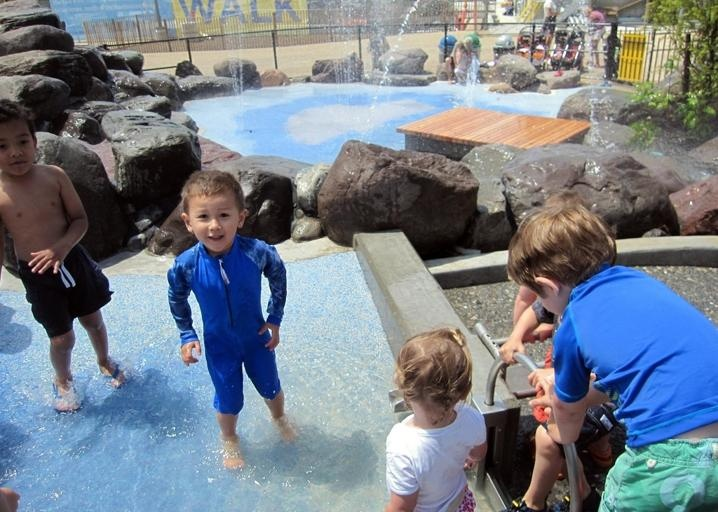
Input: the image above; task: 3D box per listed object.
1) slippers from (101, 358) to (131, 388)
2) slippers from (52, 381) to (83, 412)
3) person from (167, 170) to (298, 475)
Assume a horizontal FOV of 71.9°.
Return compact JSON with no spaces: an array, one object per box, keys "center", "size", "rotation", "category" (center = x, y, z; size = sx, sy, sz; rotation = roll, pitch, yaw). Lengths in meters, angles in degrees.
[{"center":[-1.775,0.868,3.633],"size":[0.148,0.239,0.094],"rotation":[-35,14,-13],"category":"slippers"},{"center":[-1.994,0.993,3.387],"size":[0.136,0.101,0.246],"rotation":[-13,51,-43],"category":"slippers"},{"center":[-0.753,0.405,2.963],"size":[0.696,1.804,0.410],"rotation":[-15,26,-28],"category":"person"}]
